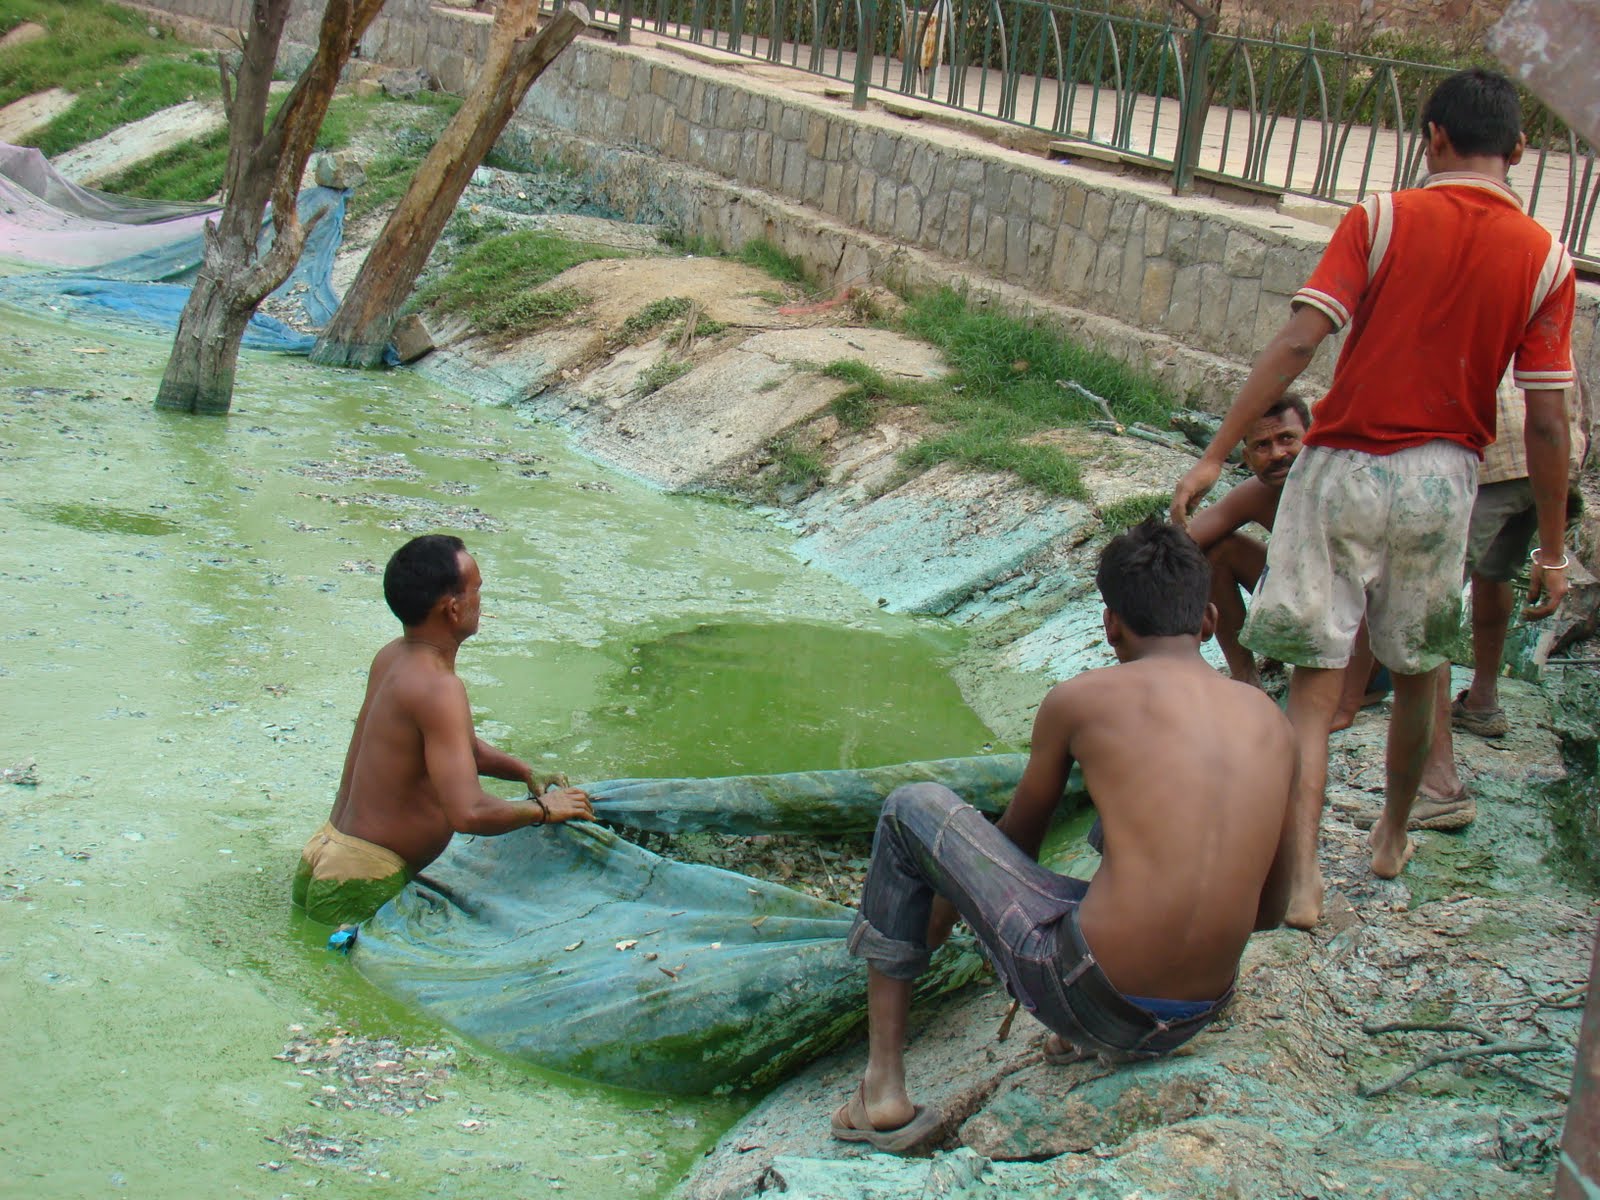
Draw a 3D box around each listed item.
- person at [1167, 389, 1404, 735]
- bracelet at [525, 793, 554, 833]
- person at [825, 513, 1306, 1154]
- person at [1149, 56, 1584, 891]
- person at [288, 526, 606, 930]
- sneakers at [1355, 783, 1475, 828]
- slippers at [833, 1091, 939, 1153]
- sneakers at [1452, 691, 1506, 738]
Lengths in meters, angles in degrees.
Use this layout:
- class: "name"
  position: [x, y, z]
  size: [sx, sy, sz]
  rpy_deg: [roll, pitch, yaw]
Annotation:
- class: "person"
  position: [1.794, -0.178, 6.248]
  size: [0.807, 1.241, 0.997]
  rpy_deg: [-4, -5, 7]
- class: "bracelet"
  position: [-0.991, 0.763, 5.974]
  size: [0.122, 0.116, 0.119]
  rpy_deg: [-2, -19, -22]
- class: "person"
  position: [0.756, 0.753, 4.658]
  size: [1.052, 1.866, 0.595]
  rpy_deg: [17, 13, 4]
- class: "person"
  position: [1.925, -0.364, 5.419]
  size: [1.204, 2.712, 0.965]
  rpy_deg: [12, 4, -6]
- class: "person"
  position: [-1.489, 0.562, 6.707]
  size: [1.013, 1.808, 0.685]
  rpy_deg: [-7, 35, -34]
- class: "sneakers"
  position: [2.236, 0.727, 5.906]
  size: [0.443, 0.207, 0.152]
  rpy_deg: [0, 4, -11]
- class: "slippers"
  position: [0.251, 1.493, 4.699]
  size: [0.311, 0.152, 0.126]
  rpy_deg: [3, 11, 40]
- class: "sneakers"
  position: [2.754, 0.461, 6.711]
  size: [0.108, 0.124, 0.286]
  rpy_deg: [-9, 19, -23]
